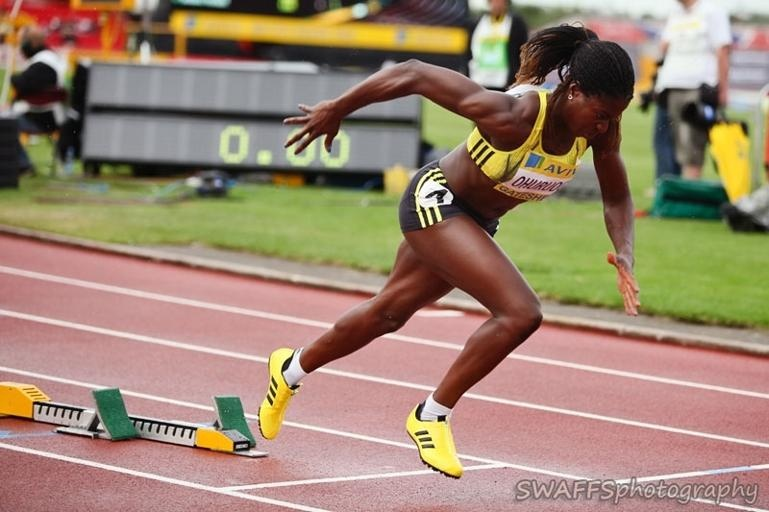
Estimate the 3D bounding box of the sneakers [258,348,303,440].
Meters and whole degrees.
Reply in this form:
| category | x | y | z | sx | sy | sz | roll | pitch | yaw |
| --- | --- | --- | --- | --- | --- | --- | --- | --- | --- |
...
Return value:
| category | x | y | z | sx | sy | sz | roll | pitch | yaw |
| --- | --- | --- | --- | --- | --- | --- | --- | --- | --- |
| sneakers | -0.660 | 0.883 | 5.891 | 0.316 | 0.594 | 0.229 | 5 | -2 | 37 |
